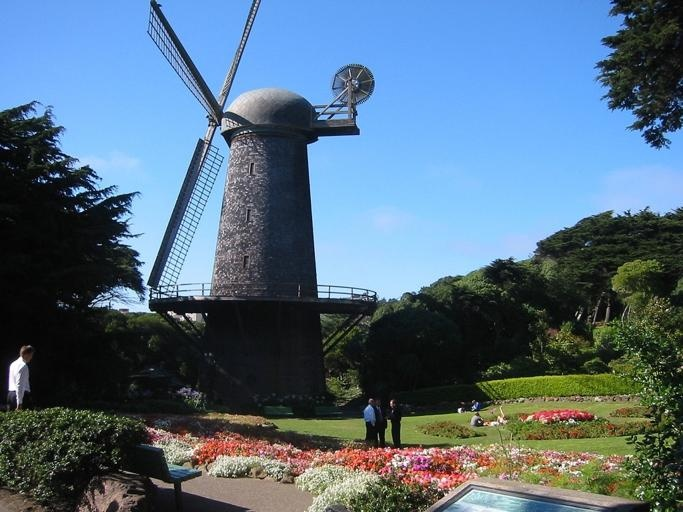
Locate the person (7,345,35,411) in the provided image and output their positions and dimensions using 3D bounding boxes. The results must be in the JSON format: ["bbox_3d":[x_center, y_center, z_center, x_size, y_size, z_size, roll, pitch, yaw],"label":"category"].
[{"bbox_3d":[-6.839,2.579,12.754,0.412,1.340,1.072,5,-15,-27],"label":"person"}]

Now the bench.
[{"bbox_3d":[-2.986,3.727,10.046,0.929,1.124,0.970,10,-18,-42],"label":"bench"}]
